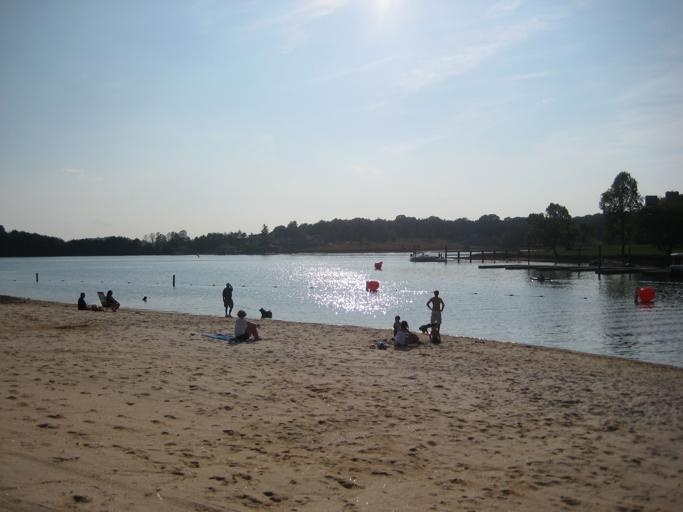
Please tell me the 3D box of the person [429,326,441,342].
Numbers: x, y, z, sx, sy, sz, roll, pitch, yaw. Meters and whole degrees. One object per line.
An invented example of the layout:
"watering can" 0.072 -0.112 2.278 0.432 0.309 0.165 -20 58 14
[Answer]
"person" 4.024 3.330 25.351 0.483 0.730 0.841 6 9 8

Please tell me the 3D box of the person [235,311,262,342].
"person" -3.915 2.908 24.285 1.396 1.201 1.074 0 1 -37
